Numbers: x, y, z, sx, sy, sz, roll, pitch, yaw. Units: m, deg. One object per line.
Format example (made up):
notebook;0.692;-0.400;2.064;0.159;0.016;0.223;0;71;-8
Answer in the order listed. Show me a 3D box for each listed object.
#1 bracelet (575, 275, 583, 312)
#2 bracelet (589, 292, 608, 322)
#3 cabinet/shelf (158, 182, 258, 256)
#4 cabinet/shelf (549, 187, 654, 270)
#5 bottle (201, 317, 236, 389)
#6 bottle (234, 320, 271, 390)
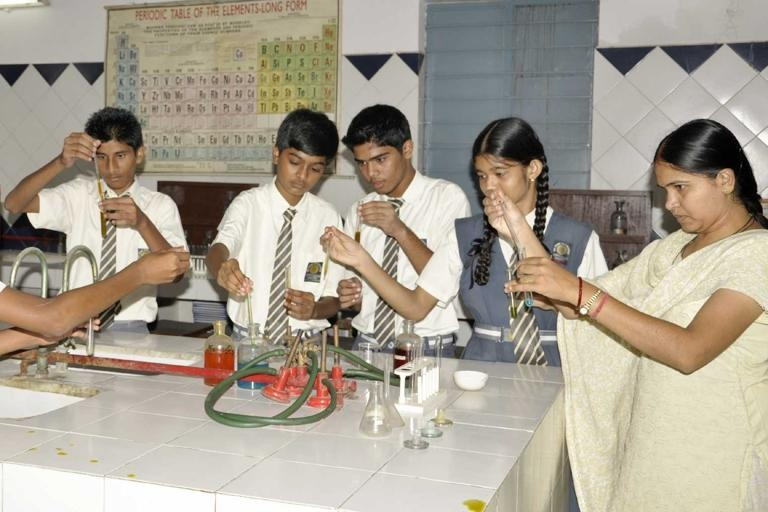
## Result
bracelet;0.597;0.121;1.912;0.017;0.073;0.066;3;-6;8
bracelet;0.642;0.148;1.862;0.017;0.064;0.067;27;11;14
cabinet/shelf;-1.008;-0.218;3.593;0.532;0.511;0.189;-1;2;8
cabinet/shelf;1.132;-0.148;3.205;0.475;0.466;0.169;0;-2;9
bottle;-0.569;0.328;2.153;0.107;0.206;0.258;0;6;-14
bottle;-0.459;0.334;2.195;0.119;0.190;0.277;1;6;-13
